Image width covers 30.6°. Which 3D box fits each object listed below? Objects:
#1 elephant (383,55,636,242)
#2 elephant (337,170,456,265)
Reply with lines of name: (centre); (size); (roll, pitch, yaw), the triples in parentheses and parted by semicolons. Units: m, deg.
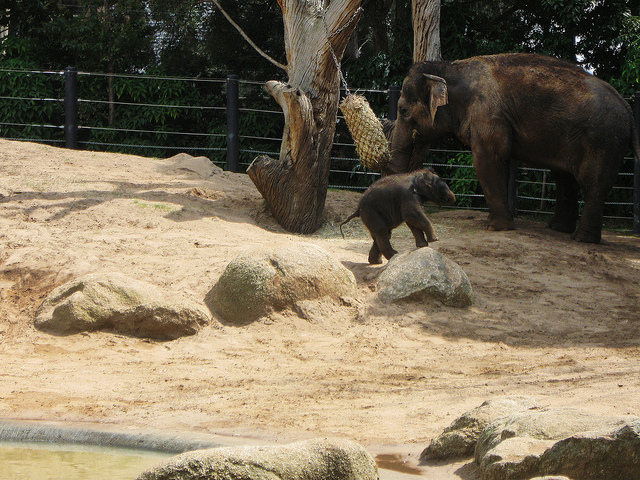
elephant: (2.581, -1.560, 16.963); (4.490, 3.229, 2.019); (7, 12, 21)
elephant: (0.979, -0.253, 14.047); (1.123, 1.186, 0.654); (3, 8, 9)
